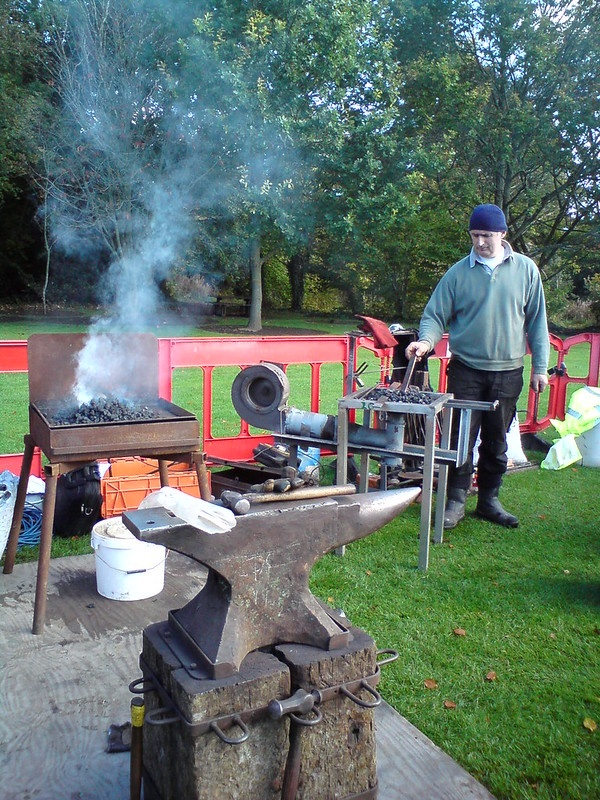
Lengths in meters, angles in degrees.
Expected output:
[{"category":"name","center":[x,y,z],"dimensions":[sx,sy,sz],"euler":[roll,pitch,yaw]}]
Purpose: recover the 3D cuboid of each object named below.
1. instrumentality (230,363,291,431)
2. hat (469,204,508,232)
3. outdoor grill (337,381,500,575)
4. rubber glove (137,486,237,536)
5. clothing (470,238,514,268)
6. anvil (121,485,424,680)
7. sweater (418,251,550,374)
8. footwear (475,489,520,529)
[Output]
[{"category":"instrumentality","center":[-0.249,-0.023,4.568],"dimensions":[0.443,0.457,0.187],"euler":[10,13,34]},{"category":"hat","center":[1.190,-1.153,4.176],"dimensions":[0.223,0.188,0.221],"euler":[6,11,12]},{"category":"outdoor grill","center":[0.706,0.384,4.428],"dimensions":[0.901,1.250,1.278],"euler":[7,12,28]},{"category":"rubber glove","center":[-0.303,0.306,1.789],"dimensions":[0.230,0.132,0.068],"euler":[-3,-27,25]},{"category":"clothing","center":[1.274,-0.985,4.413],"dimensions":[0.195,0.138,0.250],"euler":[-26,5,18]},{"category":"anvil","center":[-0.075,0.305,1.929],"dimensions":[1.020,0.498,0.395],"euler":[-6,9,-33]},{"category":"sweater","center":[1.230,-0.631,4.475],"dimensions":[0.911,0.861,0.373],"euler":[1,11,-9]},{"category":"footwear","center":[1.373,0.806,4.830],"dimensions":[0.138,0.271,0.388],"euler":[-7,9,-37]}]
